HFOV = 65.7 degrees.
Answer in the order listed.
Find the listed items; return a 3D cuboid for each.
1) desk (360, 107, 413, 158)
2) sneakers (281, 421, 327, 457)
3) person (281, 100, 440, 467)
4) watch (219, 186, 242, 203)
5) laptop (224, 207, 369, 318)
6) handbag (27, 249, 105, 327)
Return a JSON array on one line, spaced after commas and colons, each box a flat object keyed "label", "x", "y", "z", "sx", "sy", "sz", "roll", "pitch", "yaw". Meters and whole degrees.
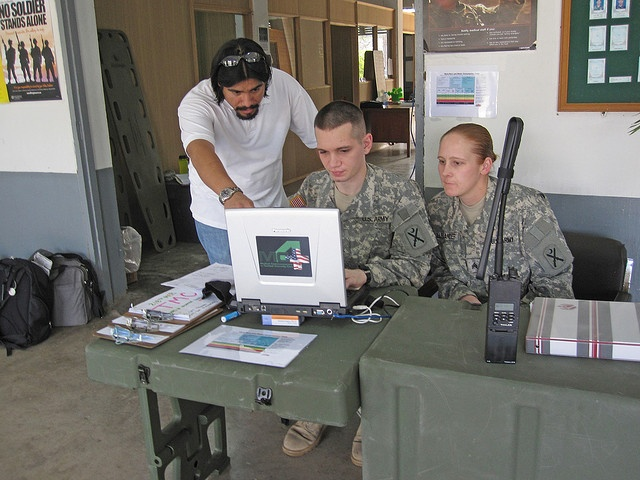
[{"label": "desk", "x": 1.408, "y": -2.376, "z": 10.670, "sx": 1.011, "sy": 1.180, "sz": 1.306, "roll": -3, "pitch": 21, "yaw": 3}, {"label": "sneakers", "x": -0.099, "y": 1.038, "z": 2.577, "sx": 0.114, "sy": 0.113, "sz": 0.300, "roll": 1, "pitch": 5, "yaw": 18}, {"label": "person", "x": 0.123, "y": 0.262, "z": 2.510, "sx": 0.762, "sy": 1.695, "sz": 0.755, "roll": 6, "pitch": 6, "yaw": 27}, {"label": "watch", "x": -0.382, "y": -0.194, "z": 2.096, "sx": 0.069, "sy": 0.073, "sz": 0.020, "roll": 6, "pitch": -24, "yaw": 45}, {"label": "laptop", "x": -0.100, "y": 0.027, "z": 1.972, "sx": 0.442, "sy": 0.437, "sz": 0.395, "roll": 0, "pitch": 24, "yaw": 8}, {"label": "handbag", "x": -2.048, "y": 0.396, "z": 4.041, "sx": 0.504, "sy": 0.587, "sz": 0.546, "roll": 8, "pitch": 17, "yaw": 12}]
